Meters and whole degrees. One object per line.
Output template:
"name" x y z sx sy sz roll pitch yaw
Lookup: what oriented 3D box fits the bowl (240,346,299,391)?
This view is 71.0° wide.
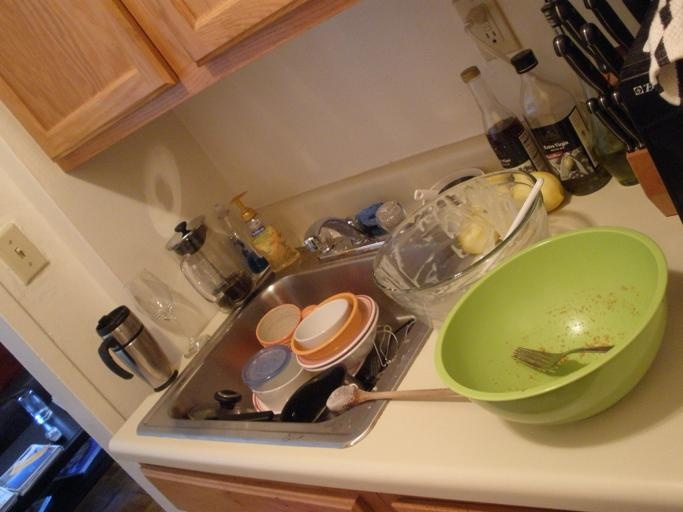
"bowl" -0.174 0.280 1.173 0.129 0.092 0.125 -3 24 1

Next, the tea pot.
"tea pot" -0.386 0.024 1.480 0.205 0.301 0.215 -4 24 2

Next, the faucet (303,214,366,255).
"faucet" -0.007 -0.068 1.394 0.164 0.110 0.169 -1 25 18

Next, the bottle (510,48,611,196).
"bottle" 0.424 -0.256 0.918 0.112 0.376 0.112 -33 23 17

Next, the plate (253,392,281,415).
"plate" -0.193 0.363 1.163 0.050 0.055 0.013 -20 43 19

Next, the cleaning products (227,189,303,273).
"cleaning products" -0.234 -0.073 1.491 0.117 0.274 0.106 -34 15 34

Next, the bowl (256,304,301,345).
"bowl" -0.165 0.184 1.314 0.097 0.048 0.124 -6 49 40

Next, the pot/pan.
"pot/pan" -0.048 0.313 1.033 0.172 0.083 0.078 -43 24 -23

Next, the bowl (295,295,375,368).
"bowl" -0.019 0.174 1.111 0.172 0.080 0.173 -34 25 18

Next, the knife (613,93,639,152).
"knife" 0.437 -0.209 0.736 0.021 0.094 0.024 -31 10 -32

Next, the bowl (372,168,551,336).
"bowl" 0.225 -0.041 0.920 0.287 0.183 0.314 -44 12 12

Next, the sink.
"sink" -0.145 0.226 1.132 0.468 0.173 0.603 -6 35 42

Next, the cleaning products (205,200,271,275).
"cleaning products" -0.323 -0.050 1.471 0.076 0.292 0.076 -34 6 4

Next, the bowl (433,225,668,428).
"bowl" 0.303 0.116 0.686 0.336 0.163 0.220 -32 22 3
